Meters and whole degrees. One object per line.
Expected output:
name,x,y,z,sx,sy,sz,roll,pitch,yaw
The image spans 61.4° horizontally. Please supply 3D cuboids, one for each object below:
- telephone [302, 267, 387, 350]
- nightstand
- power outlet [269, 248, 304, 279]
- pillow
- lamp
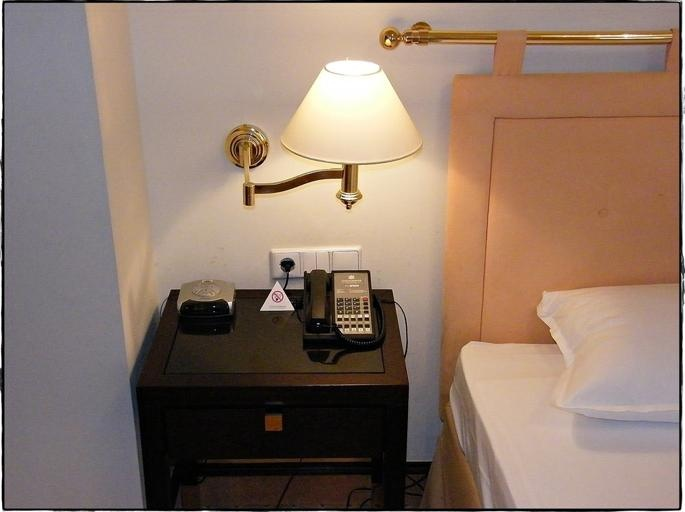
telephone,0.004,0.138,1.708,0.239,0.119,0.325,-3,26,-3
nightstand,-0.167,0.387,1.787,0.715,0.739,0.518,1,30,-1
power outlet,-0.183,0.015,1.863,0.085,0.080,0.031,-2,10,-3
pillow,0.756,0.257,1.635,0.375,0.291,0.335,2,11,15
lamp,-0.064,-0.342,1.593,0.538,0.428,0.347,6,25,5
